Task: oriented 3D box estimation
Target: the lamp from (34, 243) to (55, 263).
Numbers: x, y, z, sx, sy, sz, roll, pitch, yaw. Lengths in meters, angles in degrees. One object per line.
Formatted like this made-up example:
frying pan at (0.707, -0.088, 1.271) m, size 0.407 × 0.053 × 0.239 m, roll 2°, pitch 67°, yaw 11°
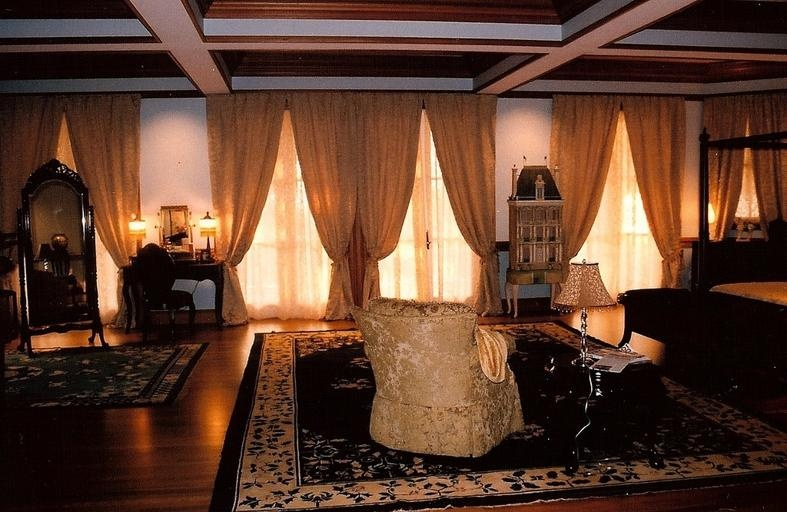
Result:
lamp at (-4.675, -0.039, 7.921) m, size 0.230 × 0.247 × 0.215 m, roll 1°, pitch 1°, yaw -28°

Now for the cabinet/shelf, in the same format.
cabinet/shelf at (2.204, -0.242, 9.262) m, size 0.894 × 2.368 × 0.431 m, roll -1°, pitch 3°, yaw 9°

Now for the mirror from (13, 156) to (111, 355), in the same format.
mirror at (-4.522, -0.029, 7.926) m, size 0.956 × 2.547 × 0.501 m, roll -3°, pitch 4°, yaw -32°

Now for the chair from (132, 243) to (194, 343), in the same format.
chair at (-3.350, 0.479, 8.553) m, size 0.768 × 1.355 × 0.795 m, roll -3°, pitch 4°, yaw -27°

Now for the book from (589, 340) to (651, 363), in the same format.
book at (2.366, 0.996, 6.179) m, size 0.375 × 0.052 × 0.398 m, roll -6°, pitch 5°, yaw -9°

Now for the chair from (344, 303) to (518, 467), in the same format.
chair at (0.436, 0.990, 5.684) m, size 1.244 × 1.225 × 1.495 m, roll 3°, pitch 8°, yaw 24°

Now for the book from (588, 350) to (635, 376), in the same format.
book at (1.905, 0.935, 5.184) m, size 0.469 × 0.108 × 0.321 m, roll -5°, pitch 5°, yaw -40°

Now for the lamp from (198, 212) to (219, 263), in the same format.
lamp at (-2.831, -0.320, 9.008) m, size 0.285 × 0.740 × 0.450 m, roll -3°, pitch 4°, yaw -18°

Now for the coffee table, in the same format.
coffee table at (1.793, 1.368, 5.521) m, size 0.958 × 0.847 × 1.158 m, roll -5°, pitch 6°, yaw -12°
